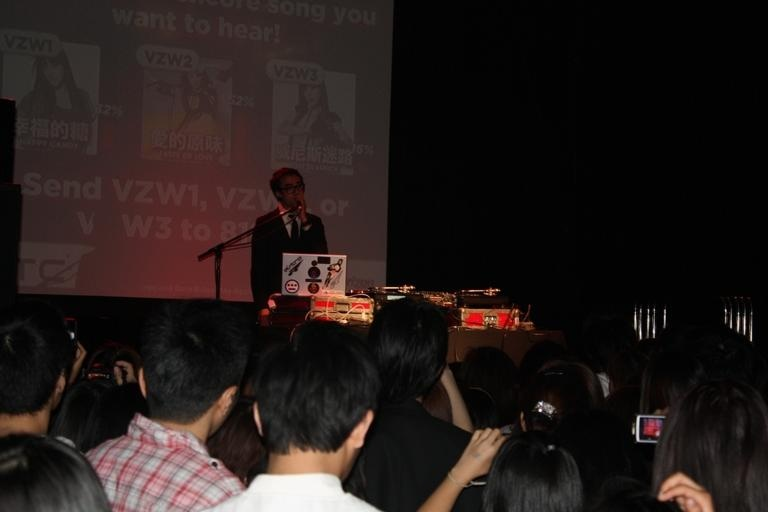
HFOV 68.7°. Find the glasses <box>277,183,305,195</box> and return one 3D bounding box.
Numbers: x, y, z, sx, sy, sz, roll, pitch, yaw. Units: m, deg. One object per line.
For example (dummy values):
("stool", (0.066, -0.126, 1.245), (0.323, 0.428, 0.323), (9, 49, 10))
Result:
("glasses", (-1.066, -0.751, 6.236), (0.364, 0.148, 0.108), (6, 1, 29))

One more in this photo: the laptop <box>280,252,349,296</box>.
("laptop", (-0.585, 0.151, 4.636), (0.416, 0.303, 0.057), (2, -4, -12))
